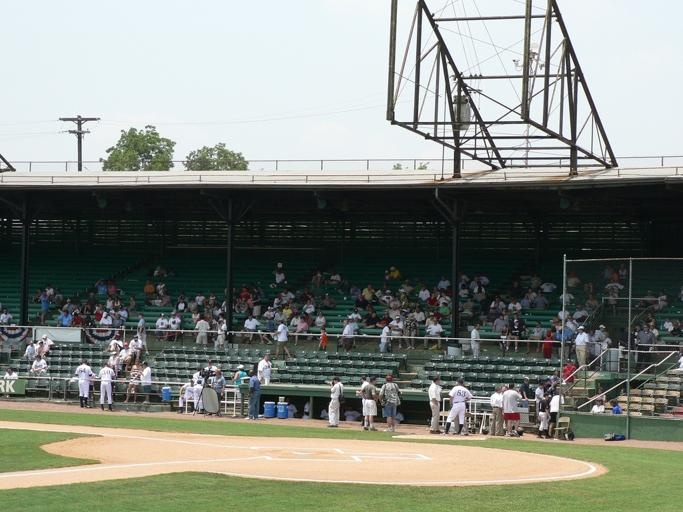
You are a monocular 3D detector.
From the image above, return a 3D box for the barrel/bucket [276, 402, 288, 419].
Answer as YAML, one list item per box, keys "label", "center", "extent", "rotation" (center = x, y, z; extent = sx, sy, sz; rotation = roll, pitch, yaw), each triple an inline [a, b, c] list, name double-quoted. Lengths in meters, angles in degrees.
- label: "barrel/bucket"
  center: [-2.166, 5.855, 62.295]
  extent: [0.584, 0.569, 0.510]
  rotation: [1, -7, -3]

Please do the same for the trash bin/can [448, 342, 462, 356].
- label: "trash bin/can"
  center: [4.423, 3.579, 63.121]
  extent: [0.654, 0.634, 0.478]
  rotation: [-1, -20, 2]

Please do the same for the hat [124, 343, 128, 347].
- label: "hat"
  center: [-8.586, 3.559, 65.974]
  extent: [0.112, 0.155, 0.163]
  rotation: [-2, -2, 0]

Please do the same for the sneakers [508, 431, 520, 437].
- label: "sneakers"
  center: [6.184, 6.354, 58.920]
  extent: [0.181, 0.194, 0.497]
  rotation: [2, 3, 27]

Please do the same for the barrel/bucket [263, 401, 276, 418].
- label: "barrel/bucket"
  center: [-2.717, 5.815, 62.407]
  extent: [0.591, 0.567, 0.534]
  rotation: [1, -7, -7]

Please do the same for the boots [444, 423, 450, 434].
- label: "boots"
  center: [3.810, 6.157, 58.807]
  extent: [0.221, 0.403, 0.338]
  rotation: [3, -8, -1]

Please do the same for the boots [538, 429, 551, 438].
- label: "boots"
  center: [7.240, 6.373, 58.862]
  extent: [0.333, 0.277, 0.504]
  rotation: [4, -8, -8]

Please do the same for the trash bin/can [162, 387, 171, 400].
- label: "trash bin/can"
  center: [-6.730, 5.307, 63.415]
  extent: [0.488, 0.505, 0.476]
  rotation: [3, -1, -22]

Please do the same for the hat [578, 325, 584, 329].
- label: "hat"
  center: [8.596, 2.557, 59.083]
  extent: [0.159, 0.080, 0.113]
  rotation: [10, -1, 11]

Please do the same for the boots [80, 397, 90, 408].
- label: "boots"
  center: [-9.829, 5.642, 63.266]
  extent: [0.427, 0.411, 0.244]
  rotation: [1, 0, 2]

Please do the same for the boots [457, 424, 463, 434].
- label: "boots"
  center: [4.283, 6.216, 59.060]
  extent: [0.177, 0.356, 0.627]
  rotation: [2, -8, 7]

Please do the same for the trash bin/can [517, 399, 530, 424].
- label: "trash bin/can"
  center: [6.668, 5.665, 59.982]
  extent: [0.362, 0.890, 0.427]
  rotation: [2, -8, 5]

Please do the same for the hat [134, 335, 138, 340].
- label: "hat"
  center: [-8.247, 3.286, 66.340]
  extent: [0.121, 0.154, 0.157]
  rotation: [-1, -27, 0]

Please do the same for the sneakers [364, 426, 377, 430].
- label: "sneakers"
  center: [1.065, 6.225, 59.444]
  extent: [0.399, 0.166, 0.134]
  rotation: [1, 1, -4]
